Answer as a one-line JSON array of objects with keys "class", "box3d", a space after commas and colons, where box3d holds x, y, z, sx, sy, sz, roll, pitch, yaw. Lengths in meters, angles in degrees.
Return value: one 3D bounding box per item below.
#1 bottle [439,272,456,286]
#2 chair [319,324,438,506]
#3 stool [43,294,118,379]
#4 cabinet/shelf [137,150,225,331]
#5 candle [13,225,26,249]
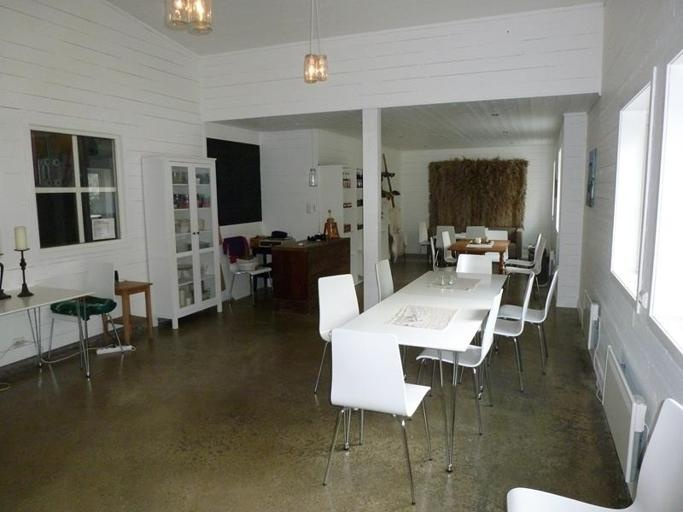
[{"class": "bottle", "box3d": [1.180, 0.259, 5.635, 0.158, 0.202, 0.167, -3, 12, 1]}, {"class": "chair", "box3d": [0.266, 1.058, 3.804, 0.751, 1.228, 0.670, 1, 10, 15]}, {"class": "stool", "box3d": [-2.844, 0.845, 6.023, 0.637, 0.884, 0.712, -19, 17, -2]}, {"class": "cabinet/shelf", "box3d": [-2.234, -0.241, 7.073, 0.485, 2.278, 0.995, 4, 11, 29]}, {"class": "candle", "box3d": [-3.289, -0.175, 5.189, 0.111, 0.252, 0.173, -9, 12, -33]}]
